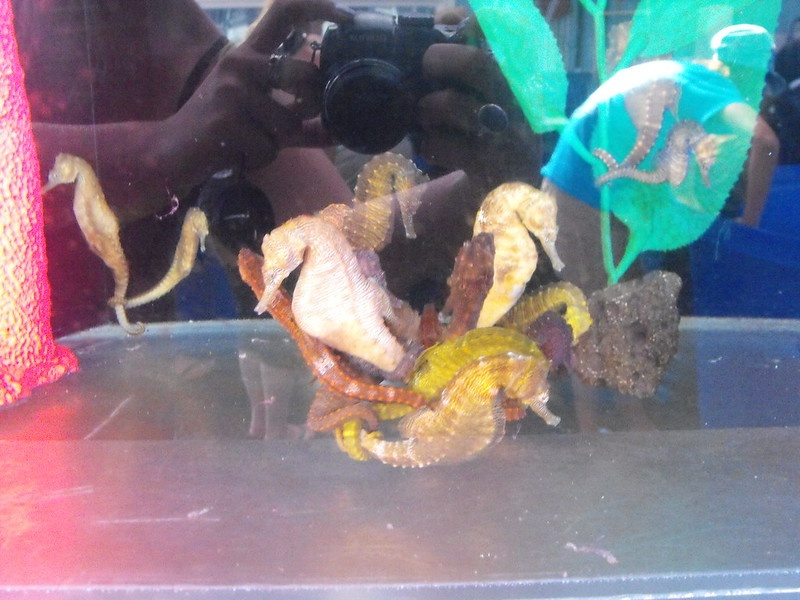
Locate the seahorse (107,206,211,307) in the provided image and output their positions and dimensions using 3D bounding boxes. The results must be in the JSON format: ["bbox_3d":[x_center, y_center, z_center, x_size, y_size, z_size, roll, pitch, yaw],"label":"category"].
[{"bbox_3d":[-0.397,-0.069,1.484,0.087,0.251,0.065,32,17,-13],"label":"seahorse"}]

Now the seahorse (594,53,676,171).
[{"bbox_3d":[0.359,-0.257,1.359,0.125,0.144,0.044,-10,27,-13],"label":"seahorse"}]

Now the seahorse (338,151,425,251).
[{"bbox_3d":[-0.029,-0.144,1.330,0.095,0.158,0.034,27,-13,-26],"label":"seahorse"}]

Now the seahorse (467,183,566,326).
[{"bbox_3d":[0.173,-0.079,1.326,0.126,0.194,0.168,1,28,6],"label":"seahorse"}]

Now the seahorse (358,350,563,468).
[{"bbox_3d":[0.069,0.137,1.230,0.282,0.155,0.105,-13,20,-2],"label":"seahorse"}]

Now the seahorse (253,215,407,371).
[{"bbox_3d":[-0.064,-0.004,1.236,0.276,0.246,0.099,5,22,2],"label":"seahorse"}]

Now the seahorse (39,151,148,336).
[{"bbox_3d":[-0.485,-0.084,1.408,0.089,0.272,0.074,-21,12,-37],"label":"seahorse"}]
